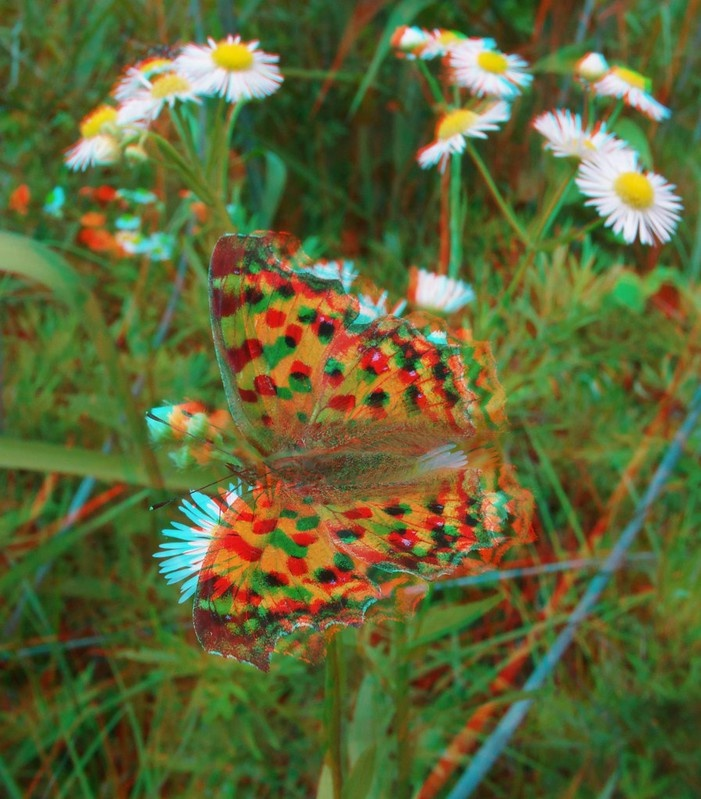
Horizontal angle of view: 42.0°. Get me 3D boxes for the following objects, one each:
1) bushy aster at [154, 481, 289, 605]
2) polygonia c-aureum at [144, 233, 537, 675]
[{"bbox_3d":[-0.113,0.125,0.840,0.105,0.043,0.098,-37,59,-19],"label":"bushy aster"},{"bbox_3d":[0.014,0.051,0.859,0.326,0.186,0.386,7,78,-2],"label":"polygonia c-aureum"}]
